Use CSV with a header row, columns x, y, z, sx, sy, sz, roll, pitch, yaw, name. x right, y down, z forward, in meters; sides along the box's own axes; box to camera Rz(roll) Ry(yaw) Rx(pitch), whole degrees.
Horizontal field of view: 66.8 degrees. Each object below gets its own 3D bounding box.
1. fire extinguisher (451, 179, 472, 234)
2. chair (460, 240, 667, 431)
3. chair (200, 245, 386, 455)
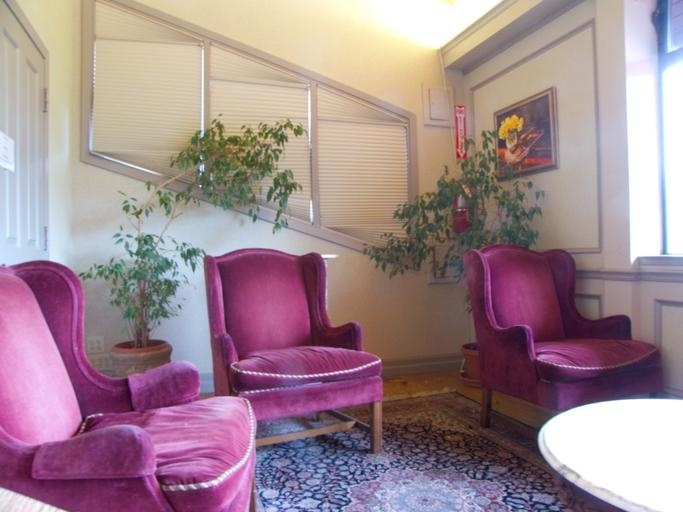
x,y,z,sx,sy,sz,roll,pitch,yaw,name
0.997,-0.380,4.234,0.140,0.404,0.220,-1,6,-1,fire extinguisher
1.507,0.515,3.553,0.993,1.469,1.177,1,-6,-26,chair
-0.287,0.514,3.420,1.016,1.595,1.180,0,-5,-24,chair
